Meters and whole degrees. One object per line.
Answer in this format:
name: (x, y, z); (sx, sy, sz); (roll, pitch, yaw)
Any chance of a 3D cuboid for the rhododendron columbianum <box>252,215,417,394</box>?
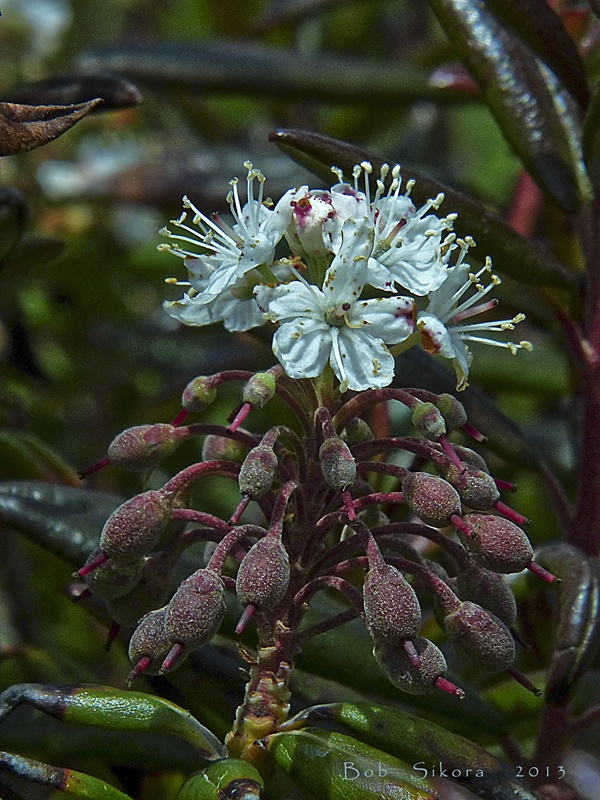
rhododendron columbianum: (0.043, -0.102, 1.113); (0.146, 0.190, 0.079); (9, -13, -31)
